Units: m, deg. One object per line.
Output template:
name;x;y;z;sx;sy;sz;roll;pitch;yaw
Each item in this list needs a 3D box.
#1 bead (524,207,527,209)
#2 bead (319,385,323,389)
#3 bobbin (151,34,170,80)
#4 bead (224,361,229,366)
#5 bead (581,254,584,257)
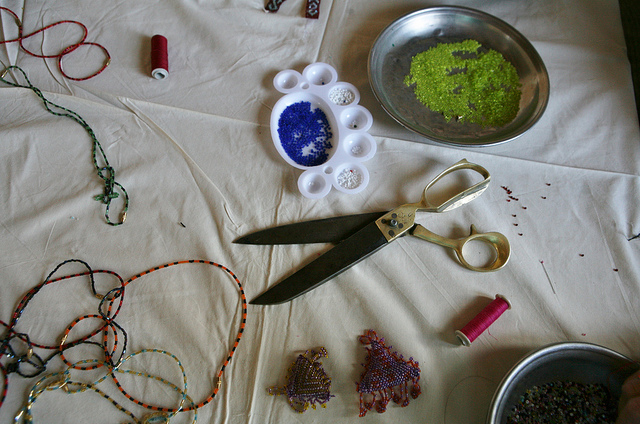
bead;0.924;-0.016;2.992;0.012;0.004;0.004;-2;-62;-4
bead;0.007;0.723;2.771;0.013;0.014;0.009;13;-63;-11
bobbin;-0.760;-0.748;3.196;0.062;0.235;0.058;4;-36;-21
bead;-0.395;0.638;2.829;0.016;0.010;0.011;-34;-65;12
bead;1.157;0.190;2.936;0.012;0.006;0.006;-9;-62;-1
